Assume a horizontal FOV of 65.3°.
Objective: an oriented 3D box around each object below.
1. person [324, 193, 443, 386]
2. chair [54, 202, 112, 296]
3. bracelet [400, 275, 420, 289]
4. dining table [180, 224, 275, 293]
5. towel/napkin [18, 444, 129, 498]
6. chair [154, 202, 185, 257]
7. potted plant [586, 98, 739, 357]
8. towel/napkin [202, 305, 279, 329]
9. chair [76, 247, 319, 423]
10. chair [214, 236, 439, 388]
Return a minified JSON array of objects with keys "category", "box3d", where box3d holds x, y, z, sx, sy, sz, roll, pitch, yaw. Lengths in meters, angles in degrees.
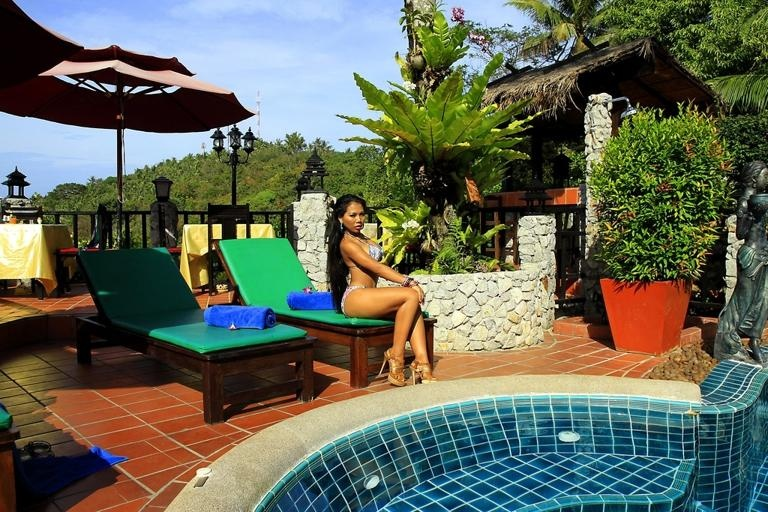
[{"category":"person","box3d":[-0.036,0.374,6.799,0.632,2.130,1.393,-11,11,-39]},{"category":"chair","box3d":[-5.841,-0.162,11.532,1.178,1.589,1.189,0,5,28]},{"category":"bracelet","box3d":[0.294,0.295,6.849,0.177,0.088,0.227,1,-1,-18]},{"category":"dining table","box3d":[-3.291,0.003,11.661,1.527,0.924,1.475,0,-2,-10]},{"category":"towel/napkin","box3d":[-2.654,1.769,5.019,0.617,0.196,0.487,-10,12,-40]},{"category":"chair","box3d":[-4.696,-0.569,12.959,0.613,1.628,0.442,0,20,-13]},{"category":"potted plant","box3d":[3.820,-0.321,8.587,1.906,3.212,1.659,2,-2,-30]},{"category":"towel/napkin","box3d":[-1.560,0.639,6.427,0.783,0.216,0.317,2,10,31]},{"category":"chair","box3d":[-2.306,0.693,7.118,3.399,1.521,1.431,5,7,43]},{"category":"chair","box3d":[-0.826,0.546,7.516,2.750,1.377,1.489,2,4,44]}]
